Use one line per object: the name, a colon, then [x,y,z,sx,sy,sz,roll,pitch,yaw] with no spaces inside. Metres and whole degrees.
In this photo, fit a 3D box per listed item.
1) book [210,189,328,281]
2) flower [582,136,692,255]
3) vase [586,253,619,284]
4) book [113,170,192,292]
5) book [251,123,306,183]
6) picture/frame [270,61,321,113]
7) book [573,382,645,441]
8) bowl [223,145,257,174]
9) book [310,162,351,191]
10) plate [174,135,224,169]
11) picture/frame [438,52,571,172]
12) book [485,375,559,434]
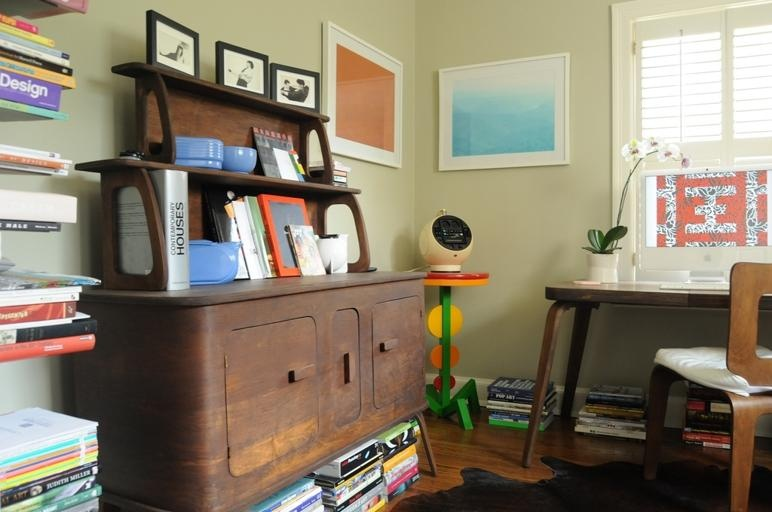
book: [-0.523,-0.081,2.343,0.056,0.288,0.429,-25,-20,34]
flower: [1.480,-0.359,3.221,0.680,0.686,0.326,-2,6,-10]
vase: [1.227,0.069,3.073,0.176,0.168,0.169,-2,2,-27]
book: [-0.841,-0.092,1.914,0.282,0.410,0.134,0,6,14]
book: [-0.503,-0.460,2.472,0.042,0.266,0.311,-22,10,20]
picture/frame: [-0.437,-0.786,2.584,0.026,0.239,0.367,-5,-5,44]
book: [1.302,0.895,3.111,0.311,0.138,0.298,1,2,14]
bowl: [-0.604,-0.394,2.247,0.136,0.078,0.129,0,0,0]
book: [-0.257,-0.402,2.685,0.172,0.055,0.175,1,1,38]
plate: [-0.725,-0.393,2.103,0.165,0.085,0.119,3,2,31]
picture/frame: [0.822,-0.954,3.611,0.945,0.667,0.038,0,0,26]
book: [0.834,0.869,3.365,0.372,0.213,0.368,1,1,28]
